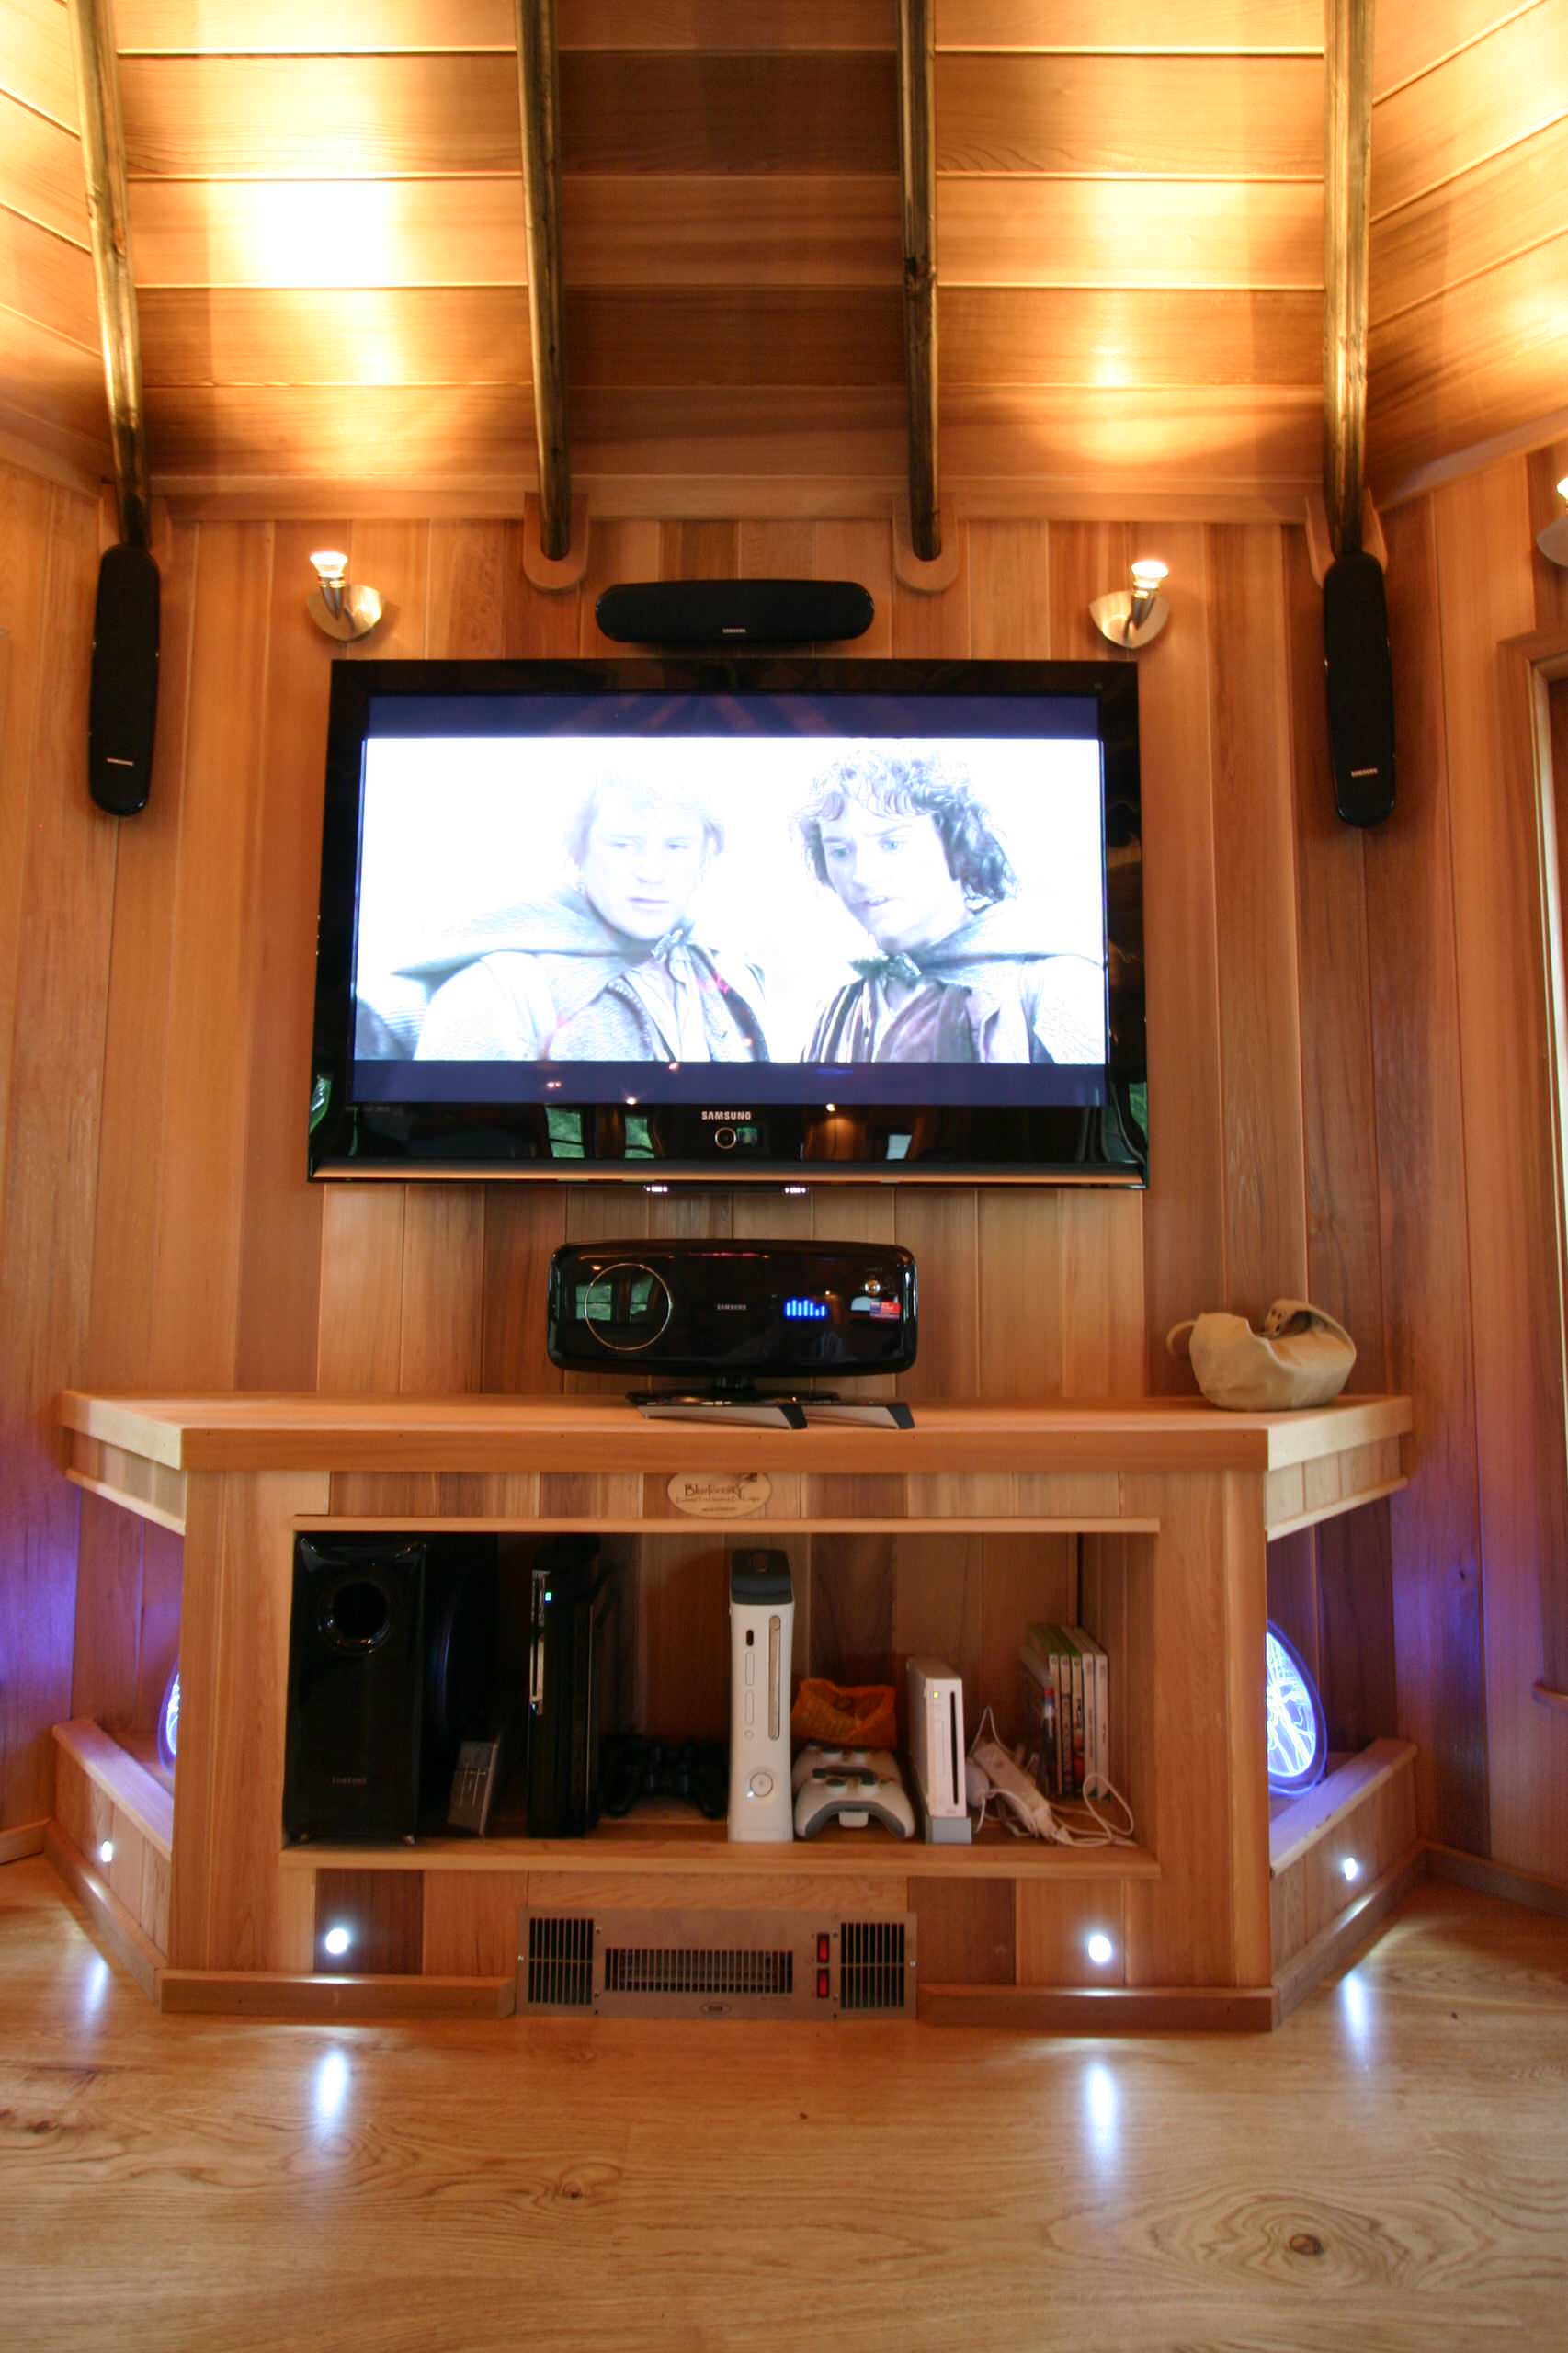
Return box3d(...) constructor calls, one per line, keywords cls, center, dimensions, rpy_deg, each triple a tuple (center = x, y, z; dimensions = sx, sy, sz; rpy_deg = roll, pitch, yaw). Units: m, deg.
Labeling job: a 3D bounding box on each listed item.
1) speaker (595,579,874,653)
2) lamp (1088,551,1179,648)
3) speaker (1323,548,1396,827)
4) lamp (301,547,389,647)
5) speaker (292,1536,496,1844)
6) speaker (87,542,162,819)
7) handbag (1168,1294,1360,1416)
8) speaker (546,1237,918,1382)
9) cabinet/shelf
box3d(cls="speaker", center=(-0.074, -0.769, 2.414), dimensions=(0.366, 0.106, 0.140), rpy_deg=(1, 2, -2))
box3d(cls="lamp", center=(0.484, -0.810, 2.471), dimensions=(0.116, 0.159, 0.053), rpy_deg=(2, 4, -15))
box3d(cls="speaker", center=(0.786, -0.677, 2.413), dimensions=(0.100, 0.380, 0.113), rpy_deg=(1, 2, 6))
box3d(cls="lamp", center=(-0.620, -0.808, 2.457), dimensions=(0.120, 0.182, 0.088), rpy_deg=(0, -3, 3))
box3d(cls="speaker", center=(-0.421, 0.574, 2.009), dimensions=(0.174, 0.335, 0.316), rpy_deg=(1, -7, 18))
box3d(cls="speaker", center=(-0.894, -0.682, 2.388), dimensions=(0.102, 0.368, 0.072), rpy_deg=(-1, 3, -44))
box3d(cls="handbag", center=(0.588, 0.223, 2.190), dimensions=(0.150, 0.079, 0.161), rpy_deg=(2, 9, -1))
box3d(cls="speaker", center=(-0.067, 0.153, 2.079), dimensions=(0.430, 0.155, 0.053), rpy_deg=(1, 2, -3))
box3d(cls="cabinet/shelf", center=(-0.067, 0.539, 2.103), dimensions=(1.681, 0.717, 0.550), rpy_deg=(2, 12, -7))
